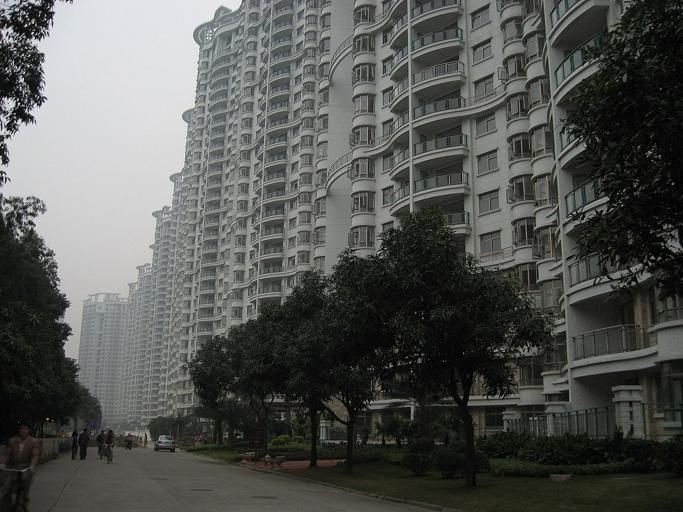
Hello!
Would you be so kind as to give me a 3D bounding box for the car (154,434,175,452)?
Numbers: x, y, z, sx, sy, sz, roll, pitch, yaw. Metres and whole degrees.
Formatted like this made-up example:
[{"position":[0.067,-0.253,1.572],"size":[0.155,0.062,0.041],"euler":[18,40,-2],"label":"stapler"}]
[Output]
[{"position":[-17.097,18.042,75.355],"size":[1.506,1.110,2.564],"euler":[4,-6,-16],"label":"car"}]
